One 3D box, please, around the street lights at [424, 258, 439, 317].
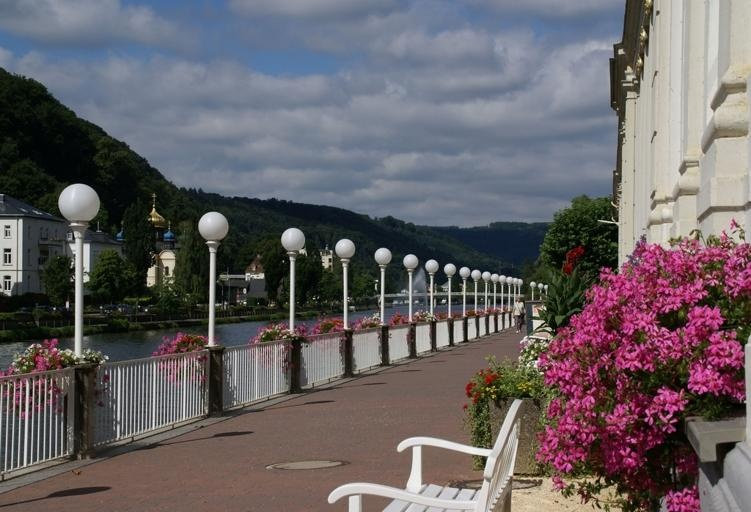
[{"bbox_3d":[2.267,1.181,34.662,0.612,2.181,0.636,-6,17,-14],"label":"street lights"}]
